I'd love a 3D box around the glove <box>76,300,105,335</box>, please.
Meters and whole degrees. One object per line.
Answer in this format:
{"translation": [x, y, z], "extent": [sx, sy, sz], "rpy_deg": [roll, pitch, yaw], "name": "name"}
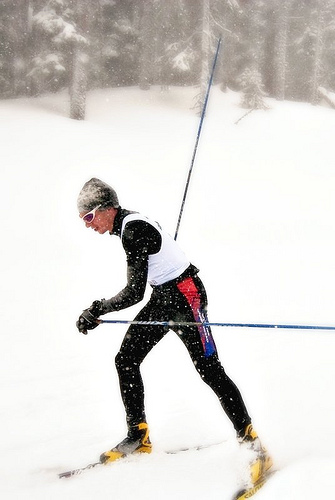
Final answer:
{"translation": [-0.482, 0.455, 3.586], "extent": [0.096, 0.226, 0.159], "rpy_deg": [46, 9, -49], "name": "glove"}
